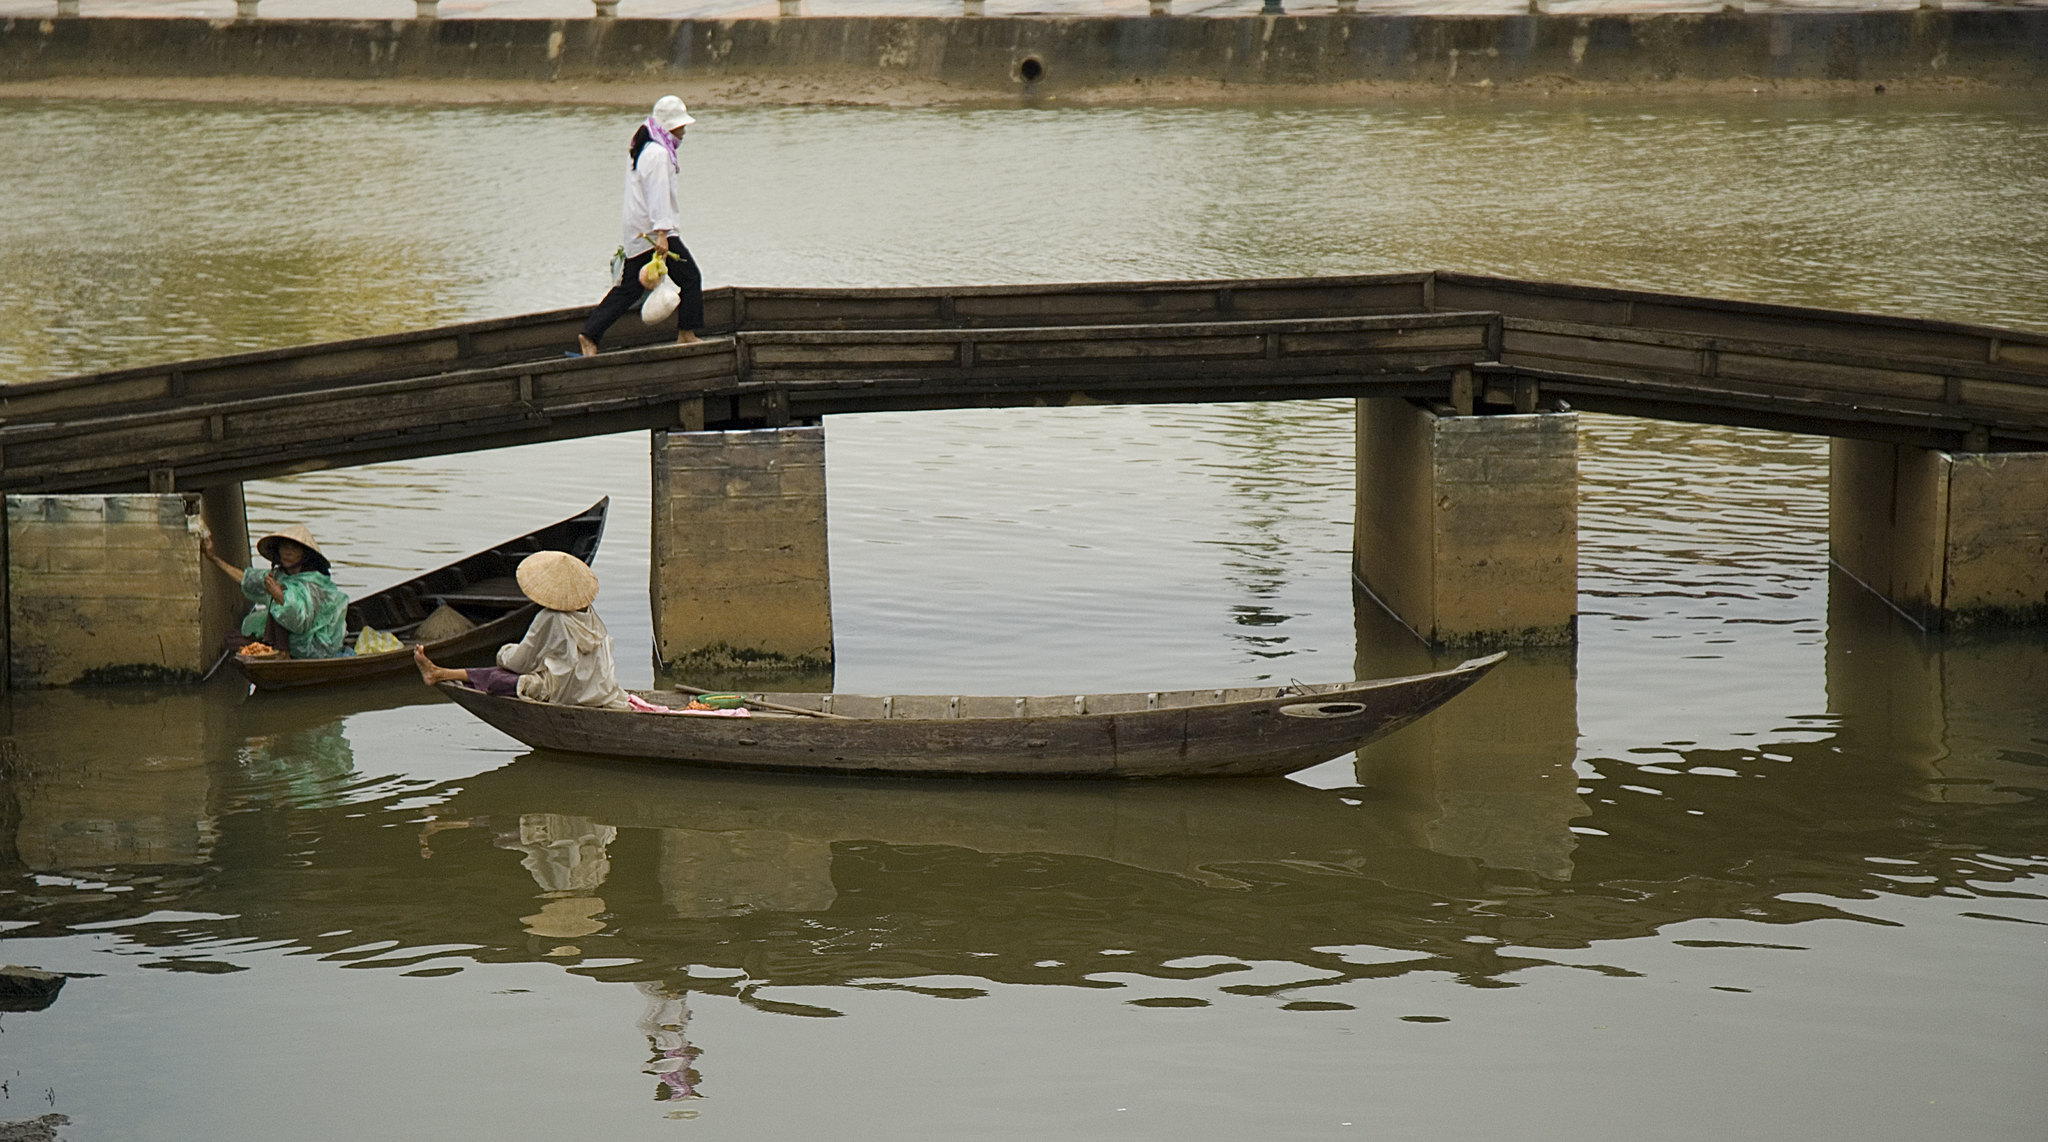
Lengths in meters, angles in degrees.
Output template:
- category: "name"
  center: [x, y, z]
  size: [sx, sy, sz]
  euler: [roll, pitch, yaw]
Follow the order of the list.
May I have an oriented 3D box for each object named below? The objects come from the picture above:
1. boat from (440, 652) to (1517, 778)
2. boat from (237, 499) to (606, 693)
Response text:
- category: "boat"
  center: [-1.087, 2.358, 52.308]
  size: [14.600, 1.280, 2.112]
  euler: [-1, 4, 13]
- category: "boat"
  center: [-8.153, 0.502, 56.702]
  size: [9.785, 2.739, 3.790]
  euler: [-1, -1, 28]
